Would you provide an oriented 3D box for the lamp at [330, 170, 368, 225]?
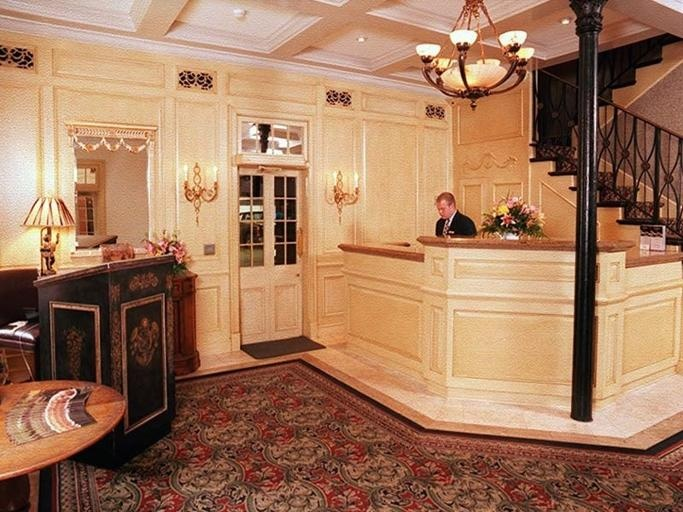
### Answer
[{"bbox_3d":[0.019,-0.878,7.319,0.472,0.742,0.144,-13,19,-41],"label":"lamp"}]

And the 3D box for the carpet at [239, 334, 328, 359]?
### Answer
[{"bbox_3d":[-0.815,1.220,6.717,0.971,0.069,0.765,-7,13,-30],"label":"carpet"}]

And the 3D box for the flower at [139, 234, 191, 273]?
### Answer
[{"bbox_3d":[-1.909,-0.034,5.382,0.399,0.349,0.423,-8,-30,17],"label":"flower"}]

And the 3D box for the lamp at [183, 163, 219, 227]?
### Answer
[{"bbox_3d":[-1.781,-0.804,6.383,0.442,0.785,0.147,-13,18,-39],"label":"lamp"}]

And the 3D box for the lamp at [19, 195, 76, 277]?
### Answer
[{"bbox_3d":[-3.163,-0.239,5.492,0.512,0.830,0.527,-8,15,-27],"label":"lamp"}]

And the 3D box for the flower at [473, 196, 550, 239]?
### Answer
[{"bbox_3d":[1.805,-0.379,5.367,0.686,0.378,0.607,2,12,12],"label":"flower"}]
